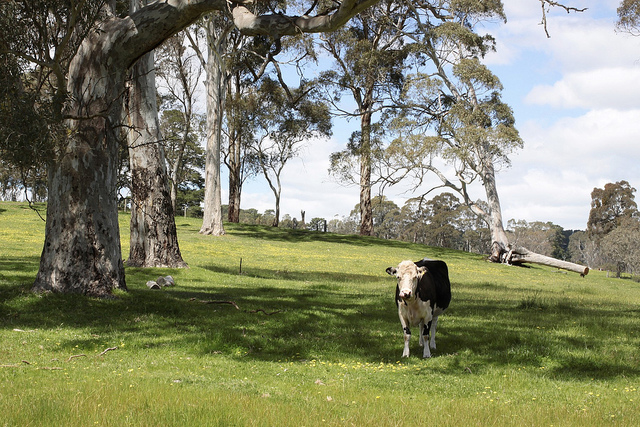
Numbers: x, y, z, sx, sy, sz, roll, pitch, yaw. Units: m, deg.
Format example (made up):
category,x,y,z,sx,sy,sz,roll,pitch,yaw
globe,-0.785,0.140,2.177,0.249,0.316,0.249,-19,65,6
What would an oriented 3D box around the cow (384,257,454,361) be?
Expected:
category,x,y,z,sx,sy,sz,roll,pitch,yaw
cow,3.096,2.789,18.763,1.148,2.779,2.595,5,7,27
